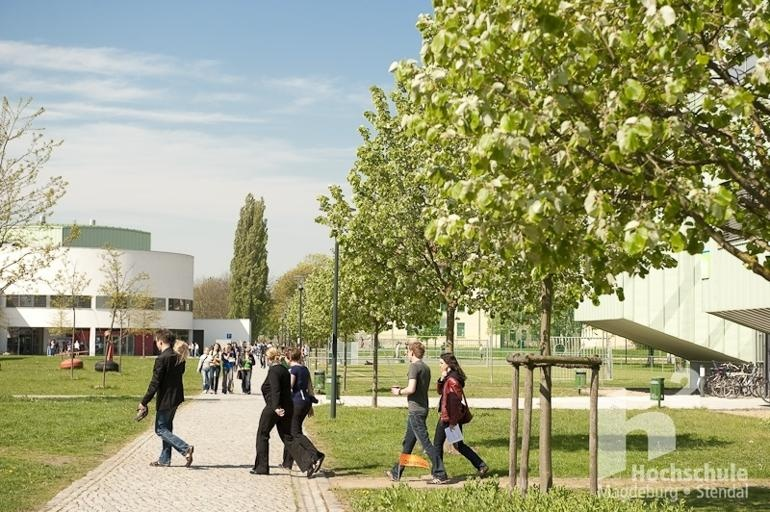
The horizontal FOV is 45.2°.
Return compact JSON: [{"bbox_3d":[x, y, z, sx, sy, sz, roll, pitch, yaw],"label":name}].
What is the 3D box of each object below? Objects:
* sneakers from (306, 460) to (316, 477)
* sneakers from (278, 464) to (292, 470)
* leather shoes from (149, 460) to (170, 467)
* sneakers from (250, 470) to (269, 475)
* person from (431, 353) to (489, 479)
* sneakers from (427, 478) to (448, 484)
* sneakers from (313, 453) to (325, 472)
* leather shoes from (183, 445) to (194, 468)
[{"bbox_3d":[-1.451,4.146,17.913,0.134,0.333,0.106,23,-12,-38],"label":"sneakers"},{"bbox_3d":[-2.025,4.233,18.579,0.260,0.126,0.097,5,-5,42],"label":"sneakers"},{"bbox_3d":[-4.584,4.221,18.693,0.379,0.107,0.153,6,-13,4],"label":"leather shoes"},{"bbox_3d":[-2.485,4.224,18.193,0.367,0.117,0.186,0,-8,4],"label":"sneakers"},{"bbox_3d":[1.374,3.053,17.837,0.894,2.325,0.771,6,-8,-38],"label":"person"},{"bbox_3d":[0.978,4.246,17.447,0.371,0.168,0.132,6,-8,5],"label":"sneakers"},{"bbox_3d":[-1.260,4.030,18.027,0.131,0.363,0.263,11,-4,-19],"label":"sneakers"},{"bbox_3d":[-3.978,4.028,18.584,0.223,0.539,0.173,1,-3,4],"label":"leather shoes"}]
